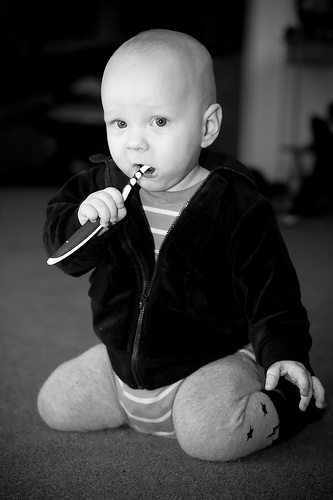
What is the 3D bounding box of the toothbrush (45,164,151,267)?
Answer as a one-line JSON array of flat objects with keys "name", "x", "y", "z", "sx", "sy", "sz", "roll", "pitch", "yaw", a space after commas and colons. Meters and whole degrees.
[{"name": "toothbrush", "x": -0.082, "y": -0.039, "z": 0.641, "sx": 0.021, "sy": 0.193, "sz": 0.032, "roll": 23, "pitch": 29, "yaw": -49}]
